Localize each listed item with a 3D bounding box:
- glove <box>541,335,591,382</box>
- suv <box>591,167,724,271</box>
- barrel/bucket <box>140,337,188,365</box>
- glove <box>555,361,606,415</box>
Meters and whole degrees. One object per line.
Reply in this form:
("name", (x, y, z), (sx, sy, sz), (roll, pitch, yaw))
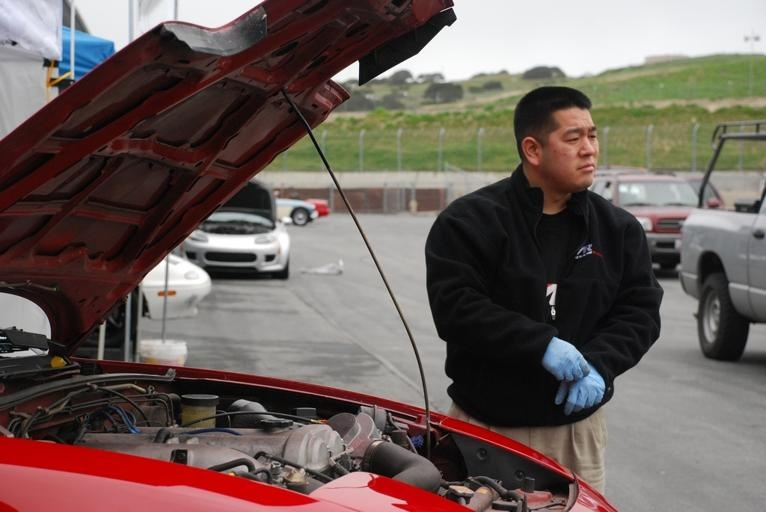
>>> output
("glove", (0.975, 0.547, 5.396), (0.241, 0.254, 0.153), (2, 7, 15))
("suv", (4.846, -0.717, 18.029), (1.867, 1.313, 3.303), (-1, 1, -9))
("barrel/bucket", (-2.036, 0.872, 9.576), (0.463, 0.289, 0.435), (0, 1, 0))
("glove", (1.065, 0.697, 5.413), (0.305, 0.215, 0.135), (-26, -24, 4))
